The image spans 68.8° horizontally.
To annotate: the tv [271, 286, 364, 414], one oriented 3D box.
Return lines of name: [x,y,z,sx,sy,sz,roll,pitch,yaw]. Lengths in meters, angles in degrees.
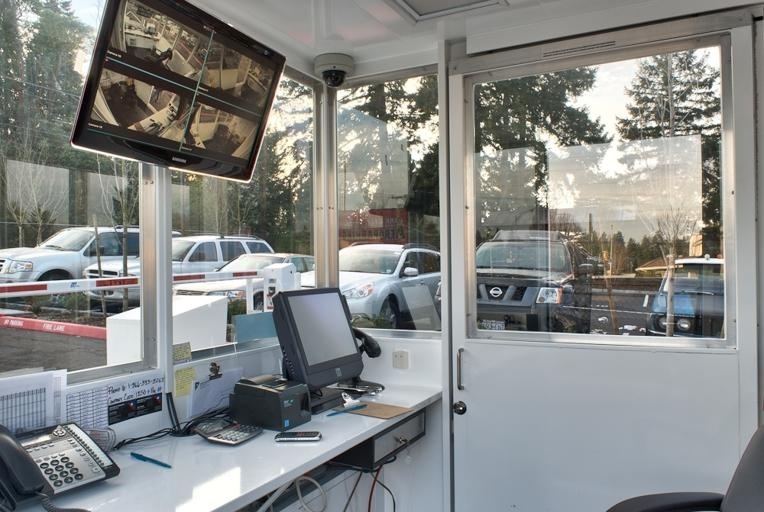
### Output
tv: [-0.391,0.561,3.198,0.333,0.671,0.604,-11,-4,33]

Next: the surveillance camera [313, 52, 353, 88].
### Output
surveillance camera: [-0.328,-1.242,3.763,0.272,0.211,0.246,2,15,-8]

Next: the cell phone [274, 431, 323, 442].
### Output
cell phone: [-0.420,0.896,2.772,0.141,0.020,0.083,2,-2,-4]
